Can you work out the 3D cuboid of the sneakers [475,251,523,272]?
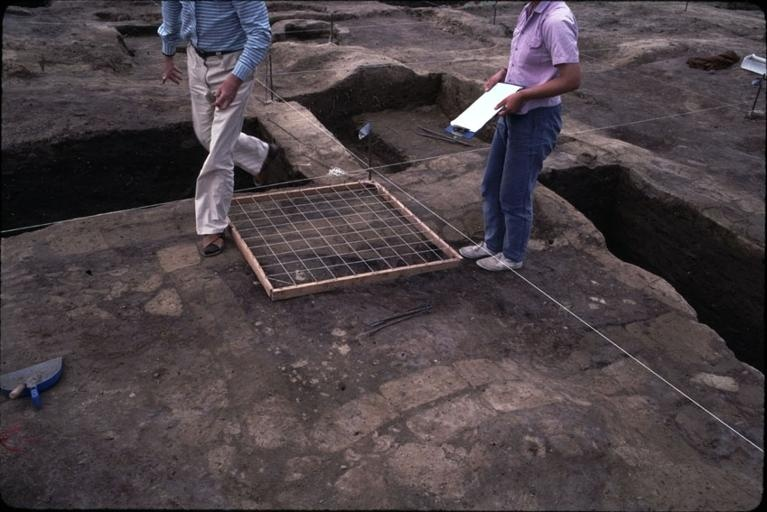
[{"bbox_3d":[0.966,0.067,4.182,0.425,0.156,0.146,3,32,-3],"label":"sneakers"}]

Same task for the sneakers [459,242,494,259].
[{"bbox_3d":[0.797,-0.037,4.285,0.327,0.128,0.117,2,40,-9],"label":"sneakers"}]

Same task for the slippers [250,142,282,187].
[{"bbox_3d":[-1.207,-0.884,5.004,0.221,0.627,0.234,11,54,-9],"label":"slippers"}]

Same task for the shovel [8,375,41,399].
[{"bbox_3d":[-2.212,0.814,3.033,0.184,0.089,0.156,-1,38,-3],"label":"shovel"}]
